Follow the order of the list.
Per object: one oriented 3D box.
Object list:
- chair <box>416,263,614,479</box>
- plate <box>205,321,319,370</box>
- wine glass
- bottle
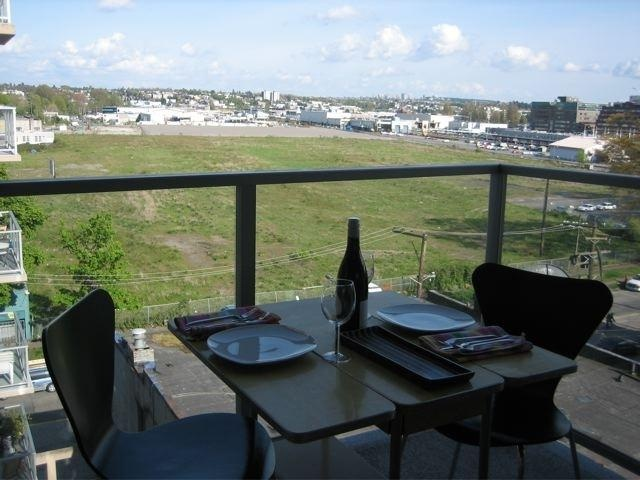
[{"bbox_3d":[0.581,0.298,1.651,0.492,0.691,0.296,-1,3,-23],"label":"chair"},{"bbox_3d":[-0.154,0.216,1.270,0.297,0.076,0.155,-2,11,-31],"label":"plate"},{"bbox_3d":[0.028,0.190,1.233,0.087,0.182,0.076,-6,18,-35],"label":"wine glass"},{"bbox_3d":[0.060,0.087,1.302,0.094,0.262,0.088,1,7,0],"label":"bottle"}]
